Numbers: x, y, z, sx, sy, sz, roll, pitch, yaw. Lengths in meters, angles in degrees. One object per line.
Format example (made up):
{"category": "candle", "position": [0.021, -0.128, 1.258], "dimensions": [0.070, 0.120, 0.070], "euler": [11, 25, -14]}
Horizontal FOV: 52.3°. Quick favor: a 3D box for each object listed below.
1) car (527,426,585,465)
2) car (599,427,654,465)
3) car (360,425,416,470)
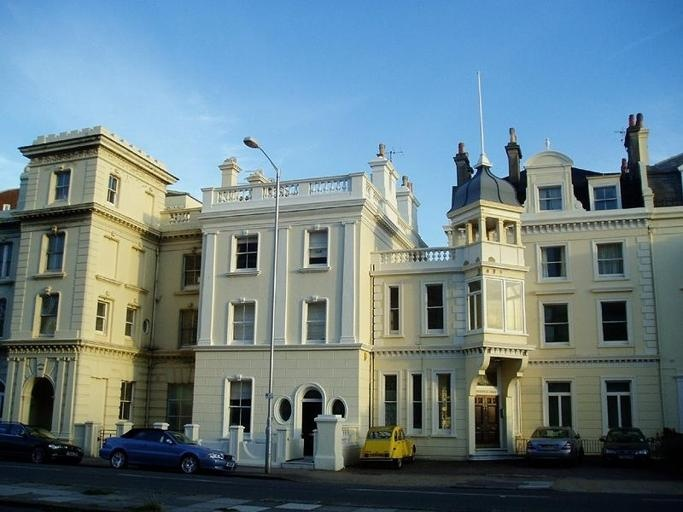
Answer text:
{"category": "car", "position": [10.329, 9.177, 33.897], "dimensions": [2.509, 1.801, 2.235], "euler": [-5, -17, 15]}
{"category": "car", "position": [14.061, 9.300, 34.298], "dimensions": [2.126, 1.628, 3.835], "euler": [-5, -10, 23]}
{"category": "car", "position": [2.345, 9.215, 33.929], "dimensions": [1.615, 1.213, 2.740], "euler": [-3, -12, 17]}
